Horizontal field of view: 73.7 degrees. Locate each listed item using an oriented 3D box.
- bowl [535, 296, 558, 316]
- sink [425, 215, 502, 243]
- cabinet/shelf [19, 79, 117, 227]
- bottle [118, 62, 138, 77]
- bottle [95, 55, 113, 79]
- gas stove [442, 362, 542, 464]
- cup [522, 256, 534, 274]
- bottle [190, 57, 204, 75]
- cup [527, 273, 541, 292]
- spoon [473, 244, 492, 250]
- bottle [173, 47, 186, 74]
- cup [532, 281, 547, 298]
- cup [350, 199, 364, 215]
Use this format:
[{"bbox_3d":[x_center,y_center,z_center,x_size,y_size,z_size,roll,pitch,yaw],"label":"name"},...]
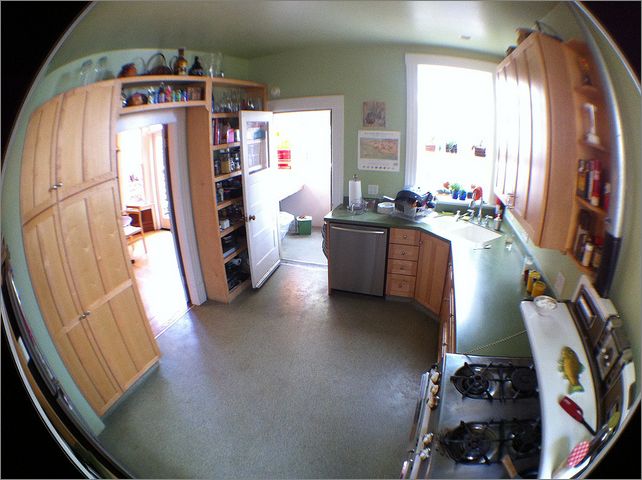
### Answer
[{"bbox_3d":[0.871,0.252,1.639,0.063,0.018,0.066,-12,31,8],"label":"bowl"},{"bbox_3d":[1.076,-0.082,3.376,0.218,0.099,0.358,-20,33,-29],"label":"sink"},{"bbox_3d":[-0.933,-0.321,1.573,0.354,0.508,0.111,-2,12,-6],"label":"cabinet/shelf"},{"bbox_3d":[-0.729,-0.635,1.602,0.069,0.053,0.007,-3,12,-9],"label":"bottle"},{"bbox_3d":[-0.809,-0.636,1.582,0.060,0.087,0.014,-2,12,-7],"label":"bottle"},{"bbox_3d":[0.661,0.644,1.642,0.329,0.209,0.472,5,13,24],"label":"gas stove"},{"bbox_3d":[1.131,0.135,2.321,0.046,0.079,0.091,5,13,26],"label":"cup"},{"bbox_3d":[-0.512,-0.715,1.749,0.024,0.077,0.084,5,13,27],"label":"bottle"},{"bbox_3d":[1.077,0.216,2.152,0.053,0.093,0.053,-1,28,1],"label":"cup"},{"bbox_3d":[1.094,0.047,2.877,0.111,0.022,0.104,5,14,26],"label":"spoon"},{"bbox_3d":[-0.559,-0.705,1.687,0.053,0.107,0.072,-4,12,-14],"label":"bottle"},{"bbox_3d":[1.050,0.238,2.048,0.054,0.090,0.056,3,20,-1],"label":"cup"},{"bbox_3d":[0.310,-0.276,3.678,0.117,0.098,0.112,0,7,0],"label":"cup"}]
